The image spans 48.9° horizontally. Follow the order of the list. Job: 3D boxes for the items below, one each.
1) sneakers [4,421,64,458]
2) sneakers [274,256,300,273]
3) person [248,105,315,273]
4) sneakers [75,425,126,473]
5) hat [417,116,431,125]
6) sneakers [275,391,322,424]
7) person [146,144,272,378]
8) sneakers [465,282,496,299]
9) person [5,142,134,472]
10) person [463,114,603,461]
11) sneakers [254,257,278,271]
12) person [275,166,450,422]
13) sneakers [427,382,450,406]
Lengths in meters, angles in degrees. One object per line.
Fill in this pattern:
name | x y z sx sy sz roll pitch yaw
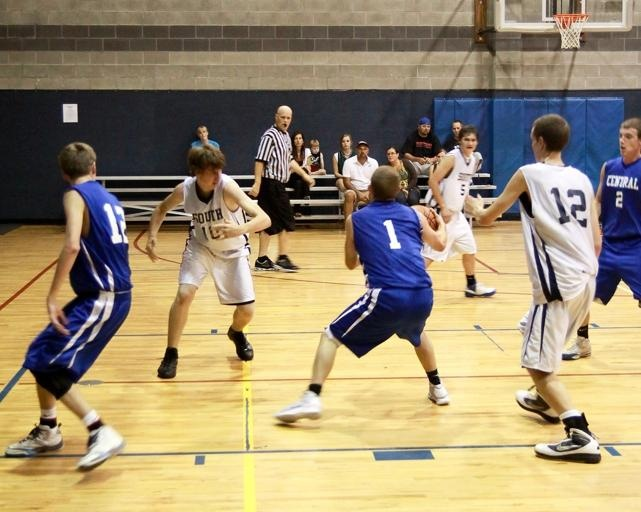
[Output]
sneakers | -1.621 1.065 4.116 0.374 0.199 0.134 -1 1 -15
sneakers | -0.388 0.107 8.986 0.388 0.197 0.146 5 3 35
person | -0.475 -0.860 9.033 0.851 2.098 0.585 -3 6 -31
sneakers | -1.185 1.042 3.916 0.166 0.130 0.338 49 36 11
hat | 1.913 -2.433 12.774 0.180 0.170 0.282 1 13 1
sneakers | -0.143 0.936 4.358 0.338 0.174 0.129 -10 -24 19
person | -0.739 0.046 5.028 0.968 1.675 0.681 7 12 34
sneakers | 1.677 0.364 7.421 0.338 0.173 0.133 -1 8 7
person | -1.413 0.257 3.989 0.705 1.754 0.658 2 10 10
person | 1.335 0.132 4.199 0.757 1.913 0.741 4 10 22
sneakers | -0.696 0.098 8.967 0.311 0.212 0.125 0 6 -7
person | 0.332 0.209 4.402 0.925 1.504 0.543 1 10 3
sneakers | 0.786 0.917 4.639 0.070 0.093 0.198 -2 -3 -13
